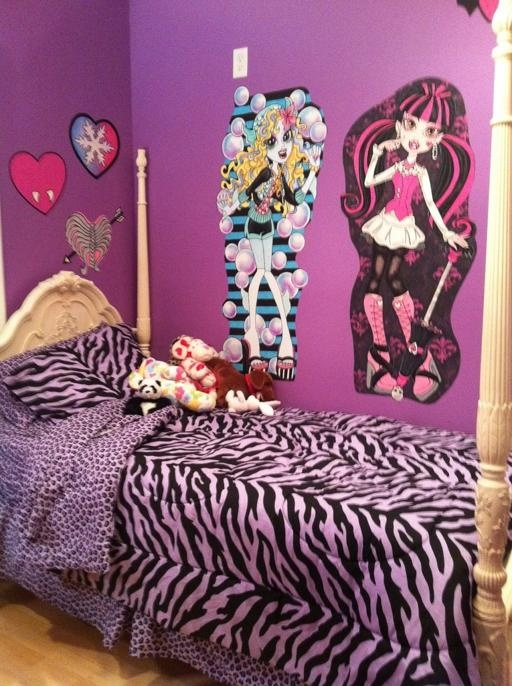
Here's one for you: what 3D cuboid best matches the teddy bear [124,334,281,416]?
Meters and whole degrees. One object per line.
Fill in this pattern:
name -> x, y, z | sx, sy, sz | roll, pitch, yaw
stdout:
teddy bear -> -0.198, 0.154, 2.680 | 0.430, 0.180, 0.325 | 17, 13, 0
